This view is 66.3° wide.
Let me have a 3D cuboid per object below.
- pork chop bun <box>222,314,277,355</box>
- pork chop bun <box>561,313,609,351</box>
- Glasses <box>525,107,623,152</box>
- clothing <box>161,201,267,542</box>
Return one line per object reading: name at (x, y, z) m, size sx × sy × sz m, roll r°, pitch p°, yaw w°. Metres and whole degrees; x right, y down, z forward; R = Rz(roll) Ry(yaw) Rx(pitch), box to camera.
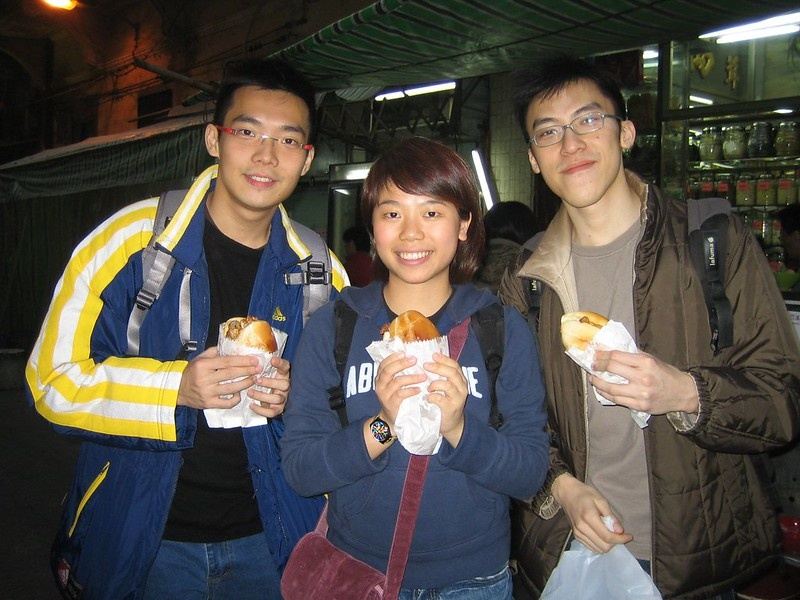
pork chop bun at (-0.817, 0.169, 3.314) m, size 0.196 × 0.095 × 0.237 m, roll 7°, pitch 7°, yaw -35°
pork chop bun at (0.989, 0.128, 3.332) m, size 0.177 × 0.133 × 0.240 m, roll 14°, pitch 33°, yaw 32°
Glasses at (1.020, -1.032, 3.676) m, size 0.295 × 0.092 × 0.302 m, roll -20°, pitch -8°, yaw 29°
clothing at (-1.030, 0.520, 3.617) m, size 0.372 × 1.532 × 0.870 m, roll 3°, pitch -5°, yaw 19°
